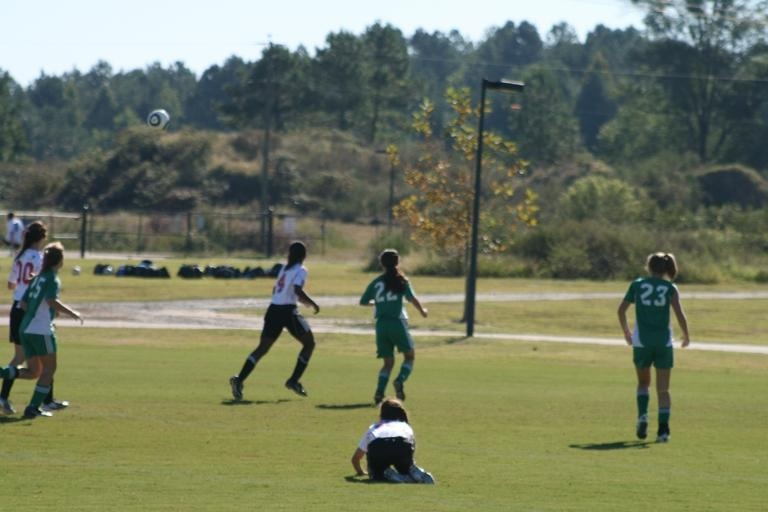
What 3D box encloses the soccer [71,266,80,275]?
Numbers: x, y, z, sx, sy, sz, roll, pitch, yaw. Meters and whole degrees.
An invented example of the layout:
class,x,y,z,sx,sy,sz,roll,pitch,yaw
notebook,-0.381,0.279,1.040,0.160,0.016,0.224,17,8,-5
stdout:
class,x,y,z,sx,sy,sz,roll,pitch,yaw
soccer,-19.800,0.796,112.565,0.582,0.518,0.551,2,-4,-16
